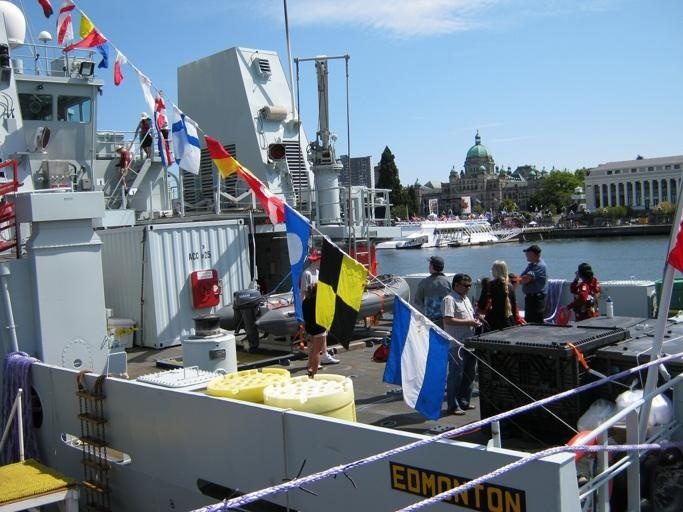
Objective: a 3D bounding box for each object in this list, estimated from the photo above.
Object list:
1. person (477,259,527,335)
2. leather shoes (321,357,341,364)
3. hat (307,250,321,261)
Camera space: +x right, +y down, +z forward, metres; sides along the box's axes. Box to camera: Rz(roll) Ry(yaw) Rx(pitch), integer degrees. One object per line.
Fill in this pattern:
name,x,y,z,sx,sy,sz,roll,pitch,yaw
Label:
person,2.735,0.701,13.674,0.676,1.575,0.733,-4,23,8
leather shoes,-0.199,1.749,13.242,0.311,0.158,0.114,-1,3,3
hat,-0.482,0.026,13.325,0.192,0.127,0.357,-6,2,1
